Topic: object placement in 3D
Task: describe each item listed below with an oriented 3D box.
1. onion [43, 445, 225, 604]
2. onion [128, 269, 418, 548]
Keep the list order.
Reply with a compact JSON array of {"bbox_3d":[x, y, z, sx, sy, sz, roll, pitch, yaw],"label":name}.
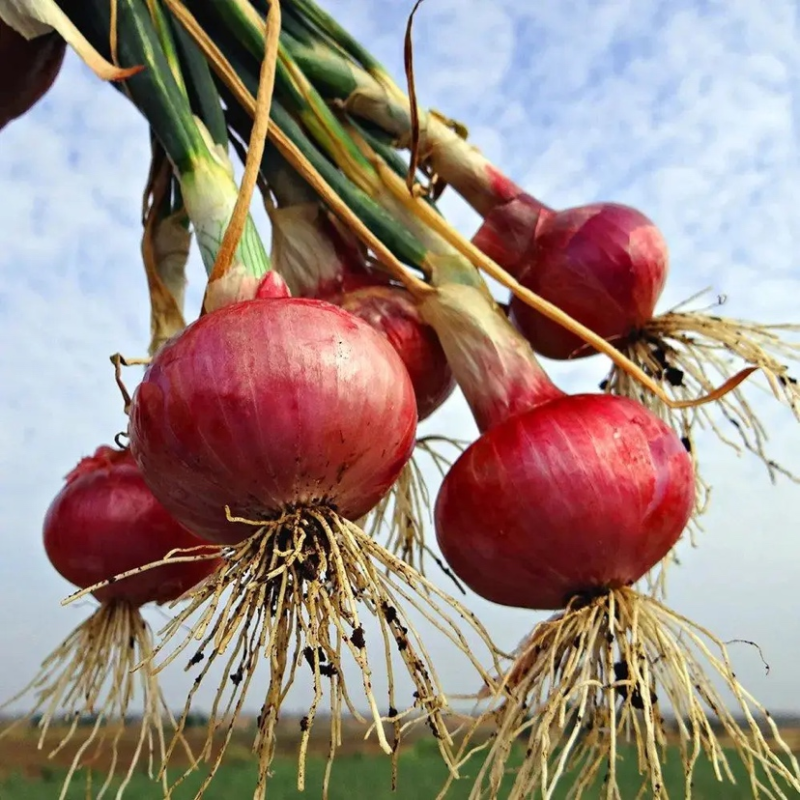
[{"bbox_3d":[-0.365,0.154,1.379,0.222,0.237,0.223,1,-85,3],"label":"onion"},{"bbox_3d":[-0.124,0.022,1.047,0.275,0.142,0.193,-5,-47,3],"label":"onion"}]
